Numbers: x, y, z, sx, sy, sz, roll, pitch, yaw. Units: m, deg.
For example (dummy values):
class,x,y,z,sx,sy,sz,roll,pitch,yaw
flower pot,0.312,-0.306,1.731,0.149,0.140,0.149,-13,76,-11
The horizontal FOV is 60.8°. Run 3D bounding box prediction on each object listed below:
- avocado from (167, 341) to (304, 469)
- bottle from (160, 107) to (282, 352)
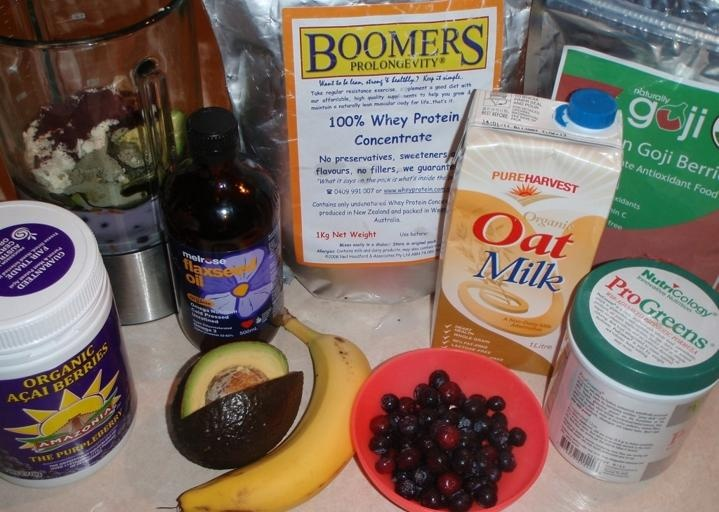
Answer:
class,x,y,z,sx,sy,sz,roll,pitch,yaw
avocado,-0.140,0.174,0.703,0.157,0.110,0.116,-18,43,-20
bottle,-0.134,-0.015,0.742,0.121,0.295,0.112,1,44,-1
